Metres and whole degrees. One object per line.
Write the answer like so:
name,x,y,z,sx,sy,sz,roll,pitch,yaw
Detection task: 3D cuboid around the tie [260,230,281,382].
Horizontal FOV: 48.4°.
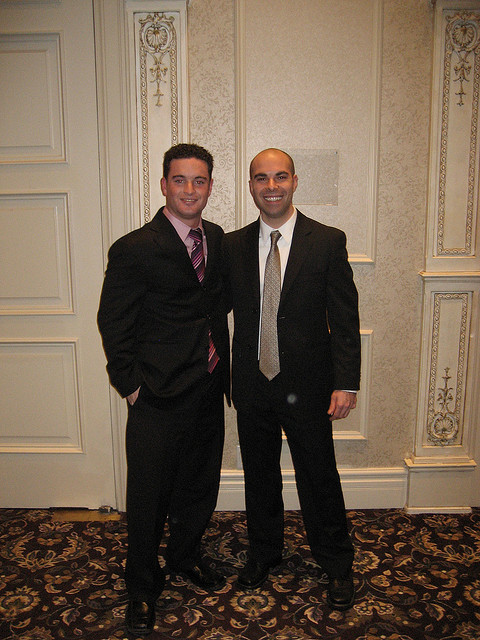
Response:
tie,0.102,-0.048,1.779,0.070,0.489,0.070,0,7,2

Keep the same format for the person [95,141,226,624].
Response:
person,-0.234,0.204,1.839,0.472,1.558,0.260,-7,9,-41

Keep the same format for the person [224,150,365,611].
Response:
person,0.179,0.198,1.887,0.491,1.536,0.293,1,7,13

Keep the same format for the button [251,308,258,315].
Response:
button,0.050,-0.028,1.801,0.024,0.019,0.005,4,9,35

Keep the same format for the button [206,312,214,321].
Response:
button,-0.100,-0.011,1.800,0.006,0.024,0.024,-6,-6,41
